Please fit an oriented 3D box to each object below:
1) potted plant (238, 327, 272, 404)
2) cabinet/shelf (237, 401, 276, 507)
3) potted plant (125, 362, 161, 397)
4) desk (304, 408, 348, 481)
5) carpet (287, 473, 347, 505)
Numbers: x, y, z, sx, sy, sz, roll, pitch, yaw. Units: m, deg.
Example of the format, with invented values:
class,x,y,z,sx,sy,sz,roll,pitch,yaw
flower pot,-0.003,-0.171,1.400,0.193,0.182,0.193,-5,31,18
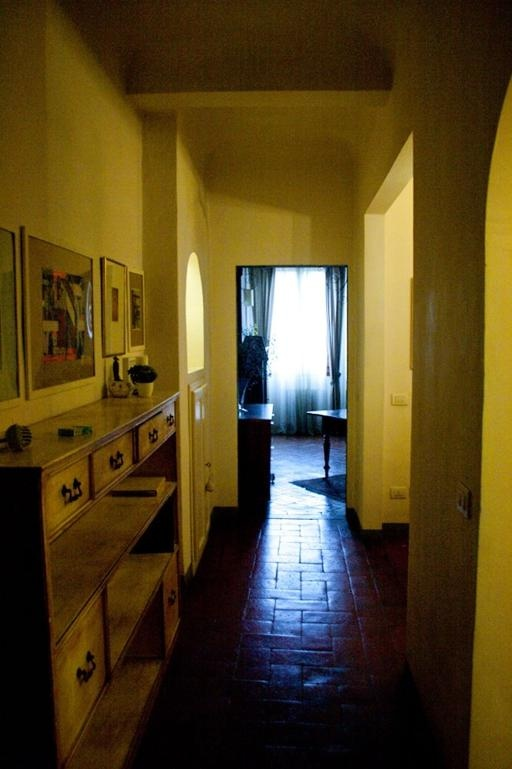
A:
class,x,y,z,sx,sy,sz,roll,pitch,yaw
potted plant,-0.012,-0.299,7.299,0.383,0.339,0.935,2,36,-6
cabinet/shelf,-0.008,0.661,5.175,0.193,0.797,0.716,0,3,3
potted plant,-0.527,-0.017,2.567,0.093,0.176,0.135,-1,3,-1
desk,0.759,0.839,6.021,0.419,0.626,0.997,0,5,8
carpet,0.668,1.073,5.936,0.536,0.045,1.032,0,4,7
